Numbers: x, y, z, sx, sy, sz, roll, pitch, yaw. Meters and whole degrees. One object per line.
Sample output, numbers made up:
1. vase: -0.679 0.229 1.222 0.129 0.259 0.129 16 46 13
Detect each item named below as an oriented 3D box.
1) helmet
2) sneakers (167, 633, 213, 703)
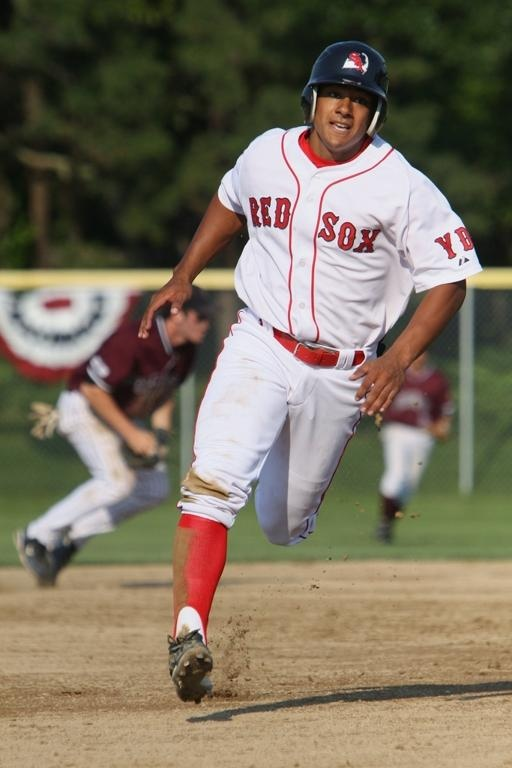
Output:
1. helmet: 0.279 -0.901 3.259 0.254 0.224 0.300 5 3 2
2. sneakers: -0.166 0.719 2.735 0.086 0.119 0.236 -25 -5 -3
